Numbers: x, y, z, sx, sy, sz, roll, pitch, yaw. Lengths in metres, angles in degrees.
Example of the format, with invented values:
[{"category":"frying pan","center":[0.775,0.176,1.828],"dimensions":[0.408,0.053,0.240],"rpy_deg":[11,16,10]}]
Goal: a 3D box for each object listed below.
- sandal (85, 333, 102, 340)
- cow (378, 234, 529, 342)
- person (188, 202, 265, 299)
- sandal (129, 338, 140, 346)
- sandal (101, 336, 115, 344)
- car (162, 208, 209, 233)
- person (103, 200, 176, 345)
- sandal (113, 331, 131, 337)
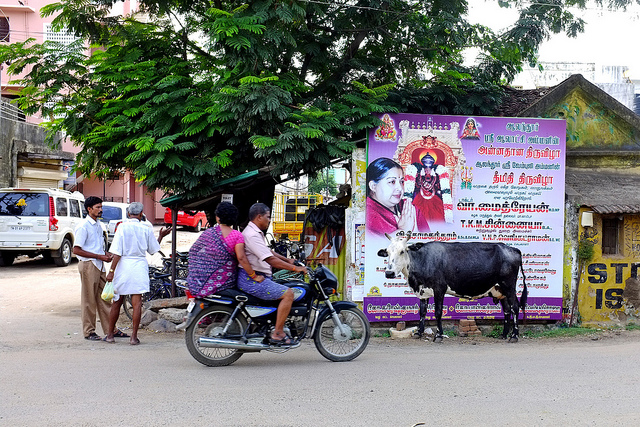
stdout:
[{"category":"sandal","center":[-4.594,2.501,16.100],"dimensions":[0.311,0.125,0.155],"rpy_deg":[-2,12,-18]},{"category":"cow","center":[2.941,1.681,17.382],"dimensions":[3.620,2.059,0.898],"rpy_deg":[2,-1,-13]},{"category":"person","center":[-1.820,0.713,14.607],"dimensions":[1.191,1.675,0.527],"rpy_deg":[0,12,-8]},{"category":"sandal","center":[-3.713,2.575,15.885],"dimensions":[0.131,0.090,0.346],"rpy_deg":[1,-5,-8]},{"category":"sandal","center":[-4.247,2.551,15.951],"dimensions":[0.164,0.120,0.427],"rpy_deg":[2,-2,-25]},{"category":"car","center":[-4.897,0.297,29.076],"dimensions":[1.215,0.968,2.440],"rpy_deg":[2,3,18]},{"category":"person","center":[-3.781,1.245,15.961],"dimensions":[0.776,2.832,1.107],"rpy_deg":[13,16,42]},{"category":"sandal","center":[-4.051,2.489,16.323],"dimensions":[0.290,0.102,0.085],"rpy_deg":[0,1,-6]}]
